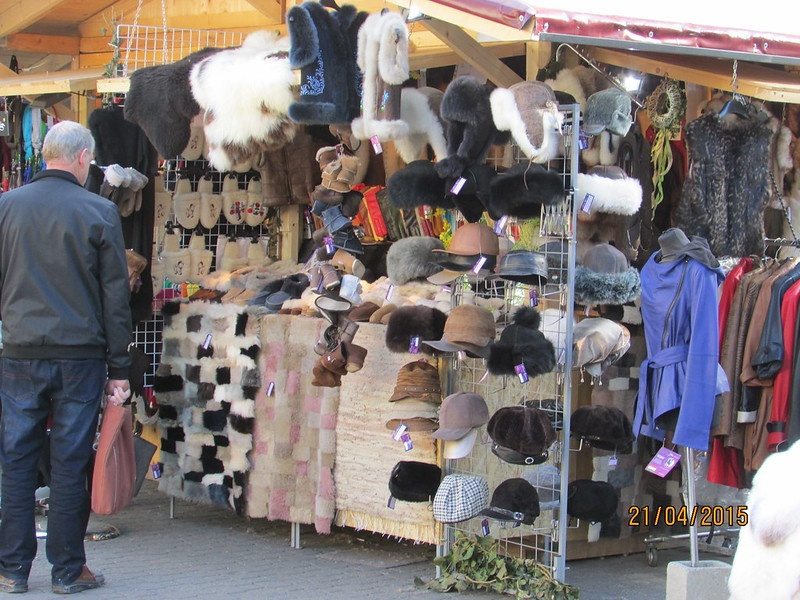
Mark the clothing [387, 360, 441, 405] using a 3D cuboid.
[{"bbox_3d":[0.120,0.473,6.837,0.367,0.239,0.304,5,6,16],"label":"clothing"}]

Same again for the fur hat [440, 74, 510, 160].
[{"bbox_3d":[0.370,-1.020,6.556,0.337,0.466,0.482,-4,-13,18],"label":"fur hat"}]

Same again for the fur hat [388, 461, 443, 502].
[{"bbox_3d":[0.066,1.119,6.926,0.300,0.165,0.445,-2,-18,18],"label":"fur hat"}]

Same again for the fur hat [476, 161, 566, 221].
[{"bbox_3d":[0.675,-0.599,6.382,0.271,0.243,0.340,-8,-2,-42],"label":"fur hat"}]

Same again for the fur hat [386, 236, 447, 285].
[{"bbox_3d":[0.070,-0.236,7.086,0.268,0.228,0.290,-4,-3,-14],"label":"fur hat"}]

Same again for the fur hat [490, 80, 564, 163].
[{"bbox_3d":[0.690,-0.972,6.332,0.406,0.445,0.182,1,6,6],"label":"fur hat"}]

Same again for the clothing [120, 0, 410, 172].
[{"bbox_3d":[-0.762,-1.221,6.703,1.379,0.688,0.959,-11,9,25],"label":"clothing"}]

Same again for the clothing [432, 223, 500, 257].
[{"bbox_3d":[0.419,-0.330,6.596,0.219,0.137,0.183,5,1,-14],"label":"clothing"}]

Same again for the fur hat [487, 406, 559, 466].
[{"bbox_3d":[0.677,0.732,6.478,0.350,0.337,0.464,2,10,-15],"label":"fur hat"}]

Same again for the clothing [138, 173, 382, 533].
[{"bbox_3d":[-0.998,0.645,7.593,1.373,1.588,0.501,-7,-11,40],"label":"clothing"}]

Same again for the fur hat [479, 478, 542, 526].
[{"bbox_3d":[0.640,1.144,6.539,0.302,0.273,0.433,-6,-14,42],"label":"fur hat"}]

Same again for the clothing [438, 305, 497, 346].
[{"bbox_3d":[0.381,0.156,6.564,0.350,0.295,0.485,1,-2,17],"label":"clothing"}]

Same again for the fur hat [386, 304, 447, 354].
[{"bbox_3d":[0.125,0.184,6.813,0.443,0.299,0.364,0,-11,-19],"label":"fur hat"}]

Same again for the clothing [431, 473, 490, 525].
[{"bbox_3d":[0.356,1.124,6.624,0.285,0.260,0.437,-10,2,39],"label":"clothing"}]
